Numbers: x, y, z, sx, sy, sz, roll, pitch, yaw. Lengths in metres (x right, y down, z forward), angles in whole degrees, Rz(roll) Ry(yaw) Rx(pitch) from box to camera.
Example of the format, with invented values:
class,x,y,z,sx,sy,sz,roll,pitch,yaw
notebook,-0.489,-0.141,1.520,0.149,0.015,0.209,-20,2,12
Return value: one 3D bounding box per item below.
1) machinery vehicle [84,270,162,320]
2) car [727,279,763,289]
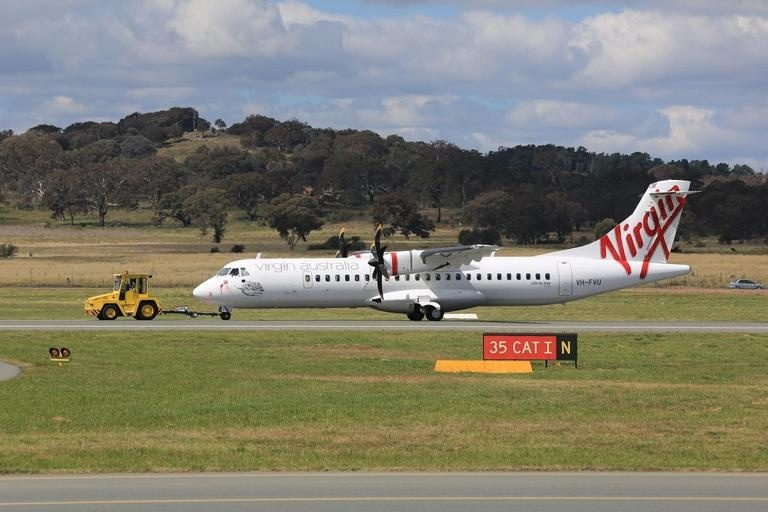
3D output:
class,x,y,z,sx,sy,sz,roll,pitch,yaw
machinery vehicle,-18.333,3.024,106.923,5.850,2.982,3.320,-1,3,4
car,32.322,2.642,129.789,2.736,0.687,1.205,-1,4,0
